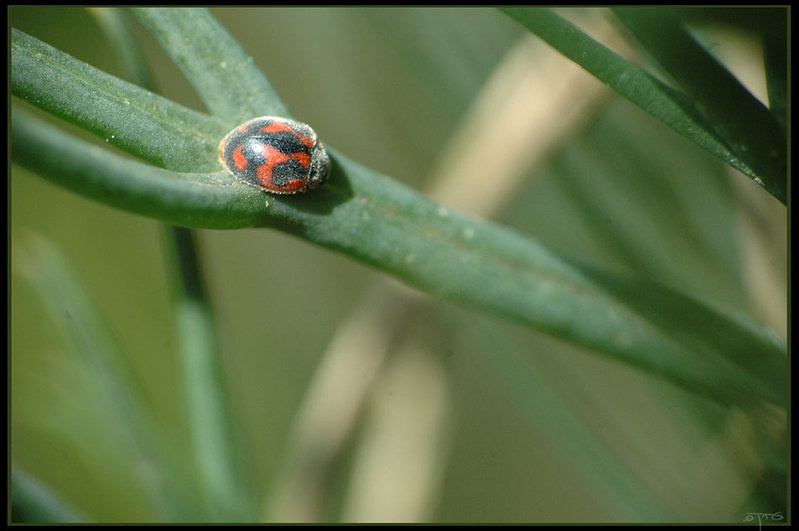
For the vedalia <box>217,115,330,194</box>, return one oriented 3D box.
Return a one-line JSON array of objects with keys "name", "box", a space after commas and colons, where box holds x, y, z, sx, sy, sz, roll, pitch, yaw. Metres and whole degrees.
[{"name": "vedalia", "box": [-0.204, -0.178, 1.257, 0.154, 0.054, 0.116, 7, -109, -22]}]
